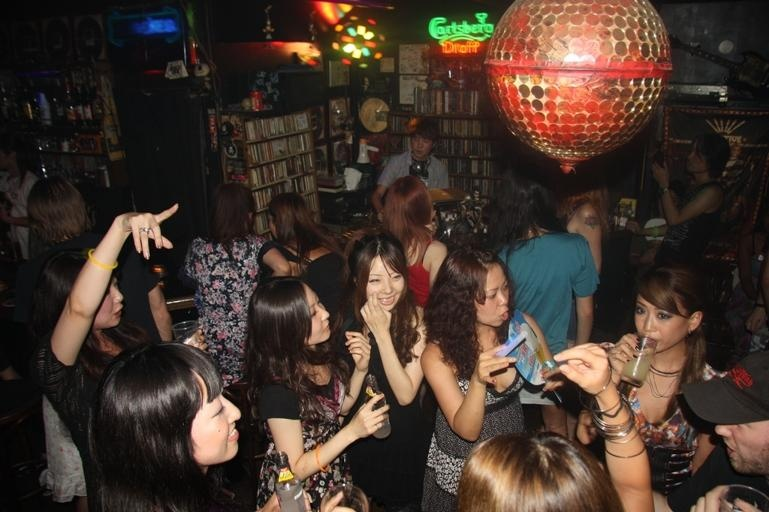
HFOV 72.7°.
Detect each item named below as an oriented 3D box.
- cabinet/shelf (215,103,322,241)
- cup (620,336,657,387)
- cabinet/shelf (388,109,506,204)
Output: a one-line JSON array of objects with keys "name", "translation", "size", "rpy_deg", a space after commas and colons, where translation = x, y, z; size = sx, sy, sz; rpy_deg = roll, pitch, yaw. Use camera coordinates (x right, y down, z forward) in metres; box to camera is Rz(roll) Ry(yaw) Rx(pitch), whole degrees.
[{"name": "cabinet/shelf", "translation": [-1.681, -1.377, 7.871], "size": [0.471, 1.406, 1.402], "rpy_deg": [0, 8, 35]}, {"name": "cup", "translation": [1.474, 0.610, 3.018], "size": [0.152, 0.284, 0.113], "rpy_deg": [-15, 20, -38]}, {"name": "cabinet/shelf", "translation": [0.986, -1.713, 8.703], "size": [2.016, 1.241, 0.351], "rpy_deg": [0, 30, -5]}]
